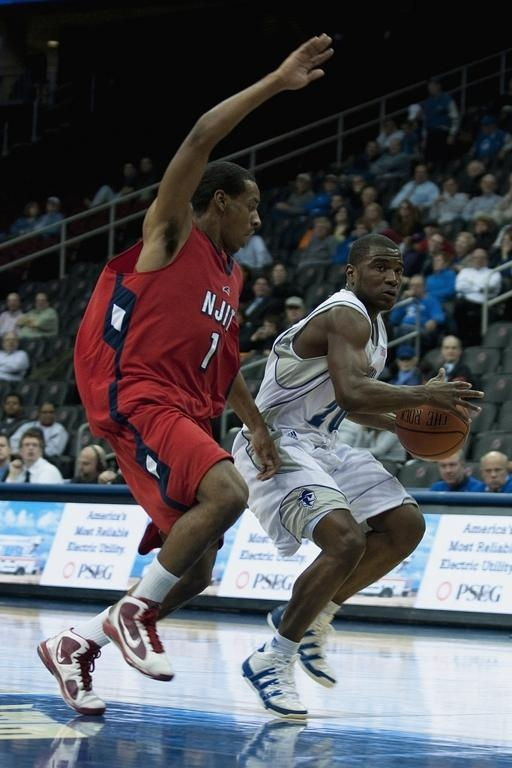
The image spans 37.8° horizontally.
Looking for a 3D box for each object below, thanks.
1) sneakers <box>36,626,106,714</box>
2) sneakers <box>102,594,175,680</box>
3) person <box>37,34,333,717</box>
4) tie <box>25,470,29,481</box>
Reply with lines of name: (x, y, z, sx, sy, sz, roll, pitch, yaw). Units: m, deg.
sneakers: (-0.509, 0.808, 2.104, 0.154, 0.211, 0.265, -9, 16, -23)
sneakers: (-0.310, 0.655, 1.914, 0.145, 0.194, 0.231, -6, 15, -14)
person: (-0.247, -0.072, 2.184, 0.674, 1.807, 1.046, 6, 18, 26)
tie: (-2.258, 0.910, 7.368, 0.049, 0.100, 0.066, -4, 16, -7)
